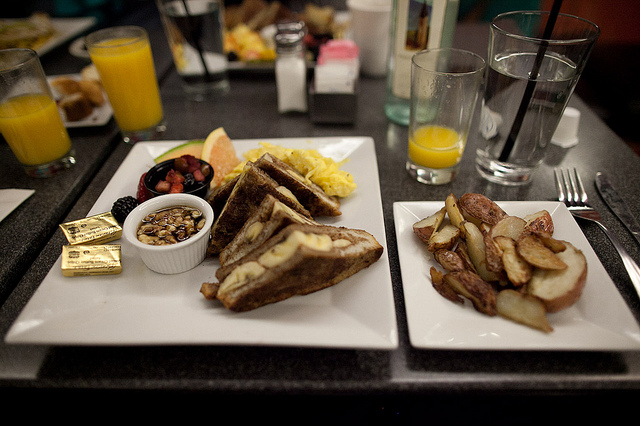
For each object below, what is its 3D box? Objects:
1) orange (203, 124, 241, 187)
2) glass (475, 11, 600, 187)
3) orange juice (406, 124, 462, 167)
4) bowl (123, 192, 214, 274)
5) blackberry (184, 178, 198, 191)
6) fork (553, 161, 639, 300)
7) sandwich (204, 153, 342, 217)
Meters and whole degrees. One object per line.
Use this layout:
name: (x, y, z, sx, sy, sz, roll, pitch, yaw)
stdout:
orange: (-0.414, -0.254, 1.936, 0.058, 0.364, 0.146, 13, 85, 15)
glass: (0.813, -0.420, 1.815, 0.369, 0.575, 0.361, -7, 26, -25)
orange juice: (0.466, -0.277, 1.842, 0.179, 0.166, 0.165, -3, 15, 1)
bowl: (-0.516, 0.057, 1.616, 0.283, 0.126, 0.282, 0, 42, 0)
blackberry: (-0.489, -0.105, 1.705, 0.050, 0.025, 0.042, -15, 46, -11)
fork: (0.992, 0.033, 1.694, 0.087, 0.090, 0.614, -8, 48, -6)
sandwich: (-0.111, -0.077, 1.655, 0.310, 0.083, 0.310, 38, 42, 20)
